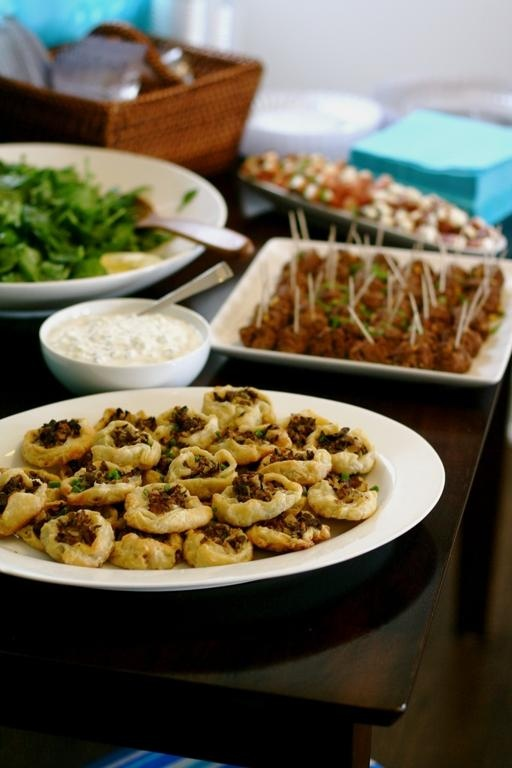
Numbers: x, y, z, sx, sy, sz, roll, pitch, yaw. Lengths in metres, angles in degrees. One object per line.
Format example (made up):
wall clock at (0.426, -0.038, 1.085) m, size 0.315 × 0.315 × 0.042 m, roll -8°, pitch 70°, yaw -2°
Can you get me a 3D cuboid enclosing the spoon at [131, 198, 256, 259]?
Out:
spoon at (-0.126, -0.244, 1.064) m, size 0.290 × 0.038 × 0.067 m, roll 24°, pitch 74°, yaw 33°
